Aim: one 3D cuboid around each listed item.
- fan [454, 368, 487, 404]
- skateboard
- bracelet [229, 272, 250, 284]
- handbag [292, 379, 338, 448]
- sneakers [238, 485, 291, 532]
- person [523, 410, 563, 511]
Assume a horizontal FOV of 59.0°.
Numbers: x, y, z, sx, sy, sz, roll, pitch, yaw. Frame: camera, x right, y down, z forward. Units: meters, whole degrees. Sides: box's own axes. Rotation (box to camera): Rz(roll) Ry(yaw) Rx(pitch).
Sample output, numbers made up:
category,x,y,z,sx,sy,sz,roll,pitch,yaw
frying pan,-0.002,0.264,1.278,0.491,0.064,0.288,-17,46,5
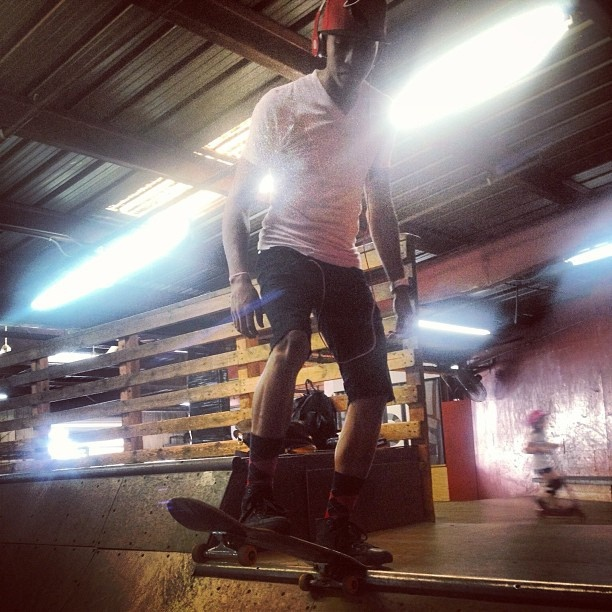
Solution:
category,x,y,z,sx,sy,sz,roll,pitch,yaw
fan,3.911,1.909,12.869,0.566,0.877,0.265,6,-45,-28
skateboard,0.024,0.714,1.657,0.859,0.134,0.230,33,-34,-31
bracelet,-0.242,-0.102,1.960,0.078,0.039,0.036,0,-8,16
handbag,0.073,0.804,4.025,0.323,0.388,0.384,4,27,3
sneakers,-0.137,0.658,1.724,0.179,0.155,0.112,-15,-23,32
person,3.433,2.204,7.825,0.486,1.286,2.211,-1,-8,22
